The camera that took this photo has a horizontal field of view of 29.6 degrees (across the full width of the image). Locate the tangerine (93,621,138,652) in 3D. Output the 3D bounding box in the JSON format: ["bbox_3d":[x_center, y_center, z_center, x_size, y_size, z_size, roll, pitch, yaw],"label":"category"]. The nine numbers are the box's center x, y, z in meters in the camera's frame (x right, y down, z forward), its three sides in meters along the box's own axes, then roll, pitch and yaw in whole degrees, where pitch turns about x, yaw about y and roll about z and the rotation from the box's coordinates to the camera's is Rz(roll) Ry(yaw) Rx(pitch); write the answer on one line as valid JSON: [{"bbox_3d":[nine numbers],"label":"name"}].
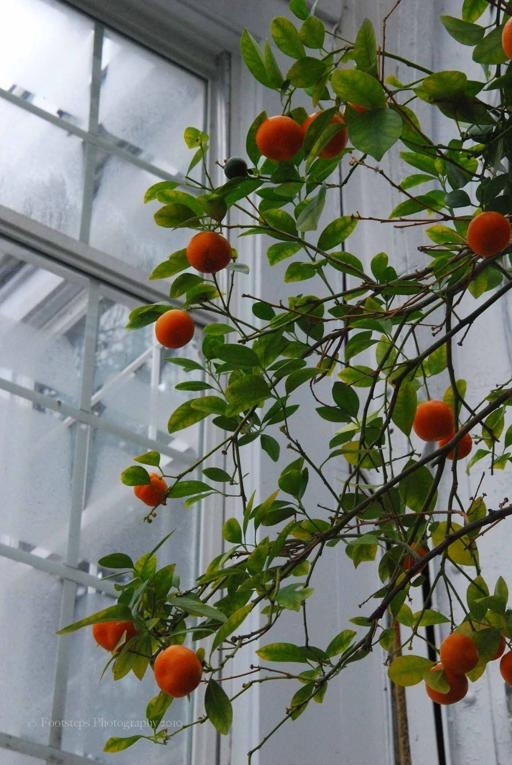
[{"bbox_3d":[-0.138,0.246,0.943,0.038,0.028,0.079,8,-27,-15],"label":"tangerine"}]

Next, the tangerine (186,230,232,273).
[{"bbox_3d":[-0.040,-0.123,0.951,0.045,0.039,0.042,-13,-6,3],"label":"tangerine"}]

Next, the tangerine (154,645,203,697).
[{"bbox_3d":[-0.069,0.267,0.885,0.041,0.044,0.042,-11,-6,-21],"label":"tangerine"}]
